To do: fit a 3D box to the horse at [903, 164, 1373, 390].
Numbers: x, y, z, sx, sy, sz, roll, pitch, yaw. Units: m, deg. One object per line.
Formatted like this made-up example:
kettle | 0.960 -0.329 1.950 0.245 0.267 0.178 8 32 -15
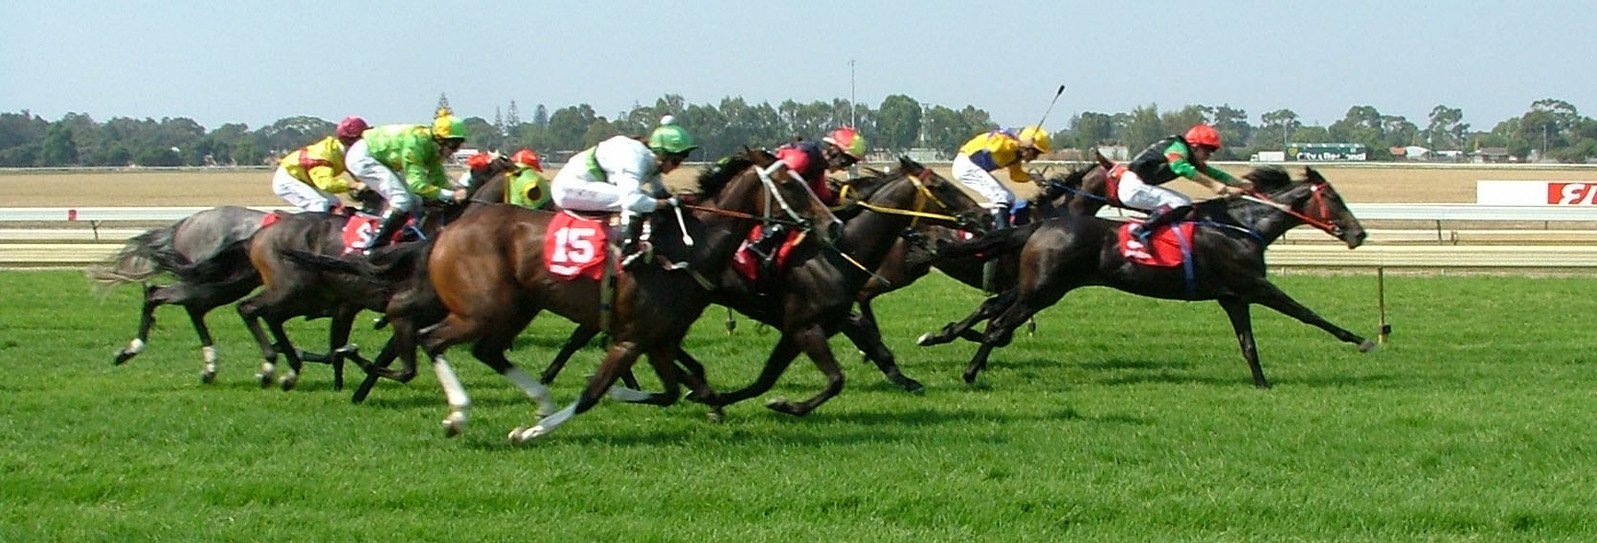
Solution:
horse | 10.248 -0.062 41.896 15.872 5.084 2.264 -4 16 -17
